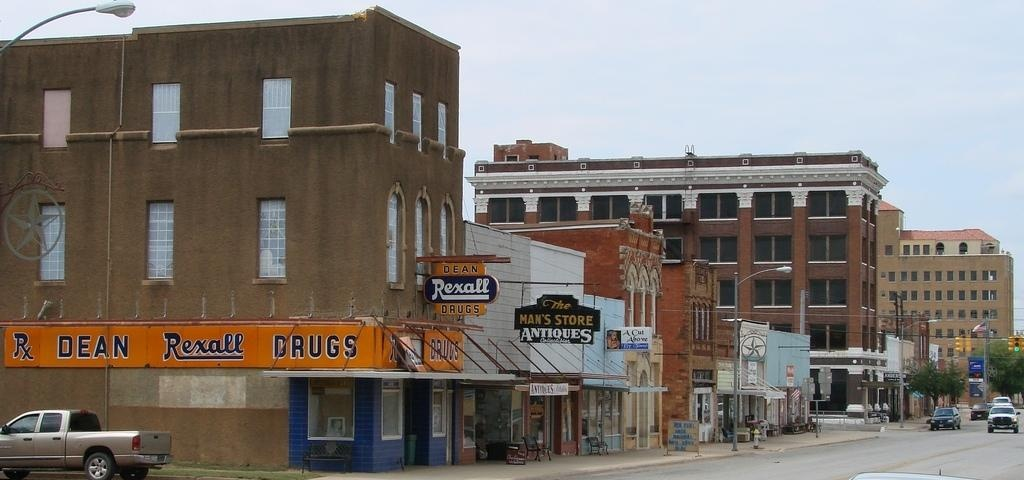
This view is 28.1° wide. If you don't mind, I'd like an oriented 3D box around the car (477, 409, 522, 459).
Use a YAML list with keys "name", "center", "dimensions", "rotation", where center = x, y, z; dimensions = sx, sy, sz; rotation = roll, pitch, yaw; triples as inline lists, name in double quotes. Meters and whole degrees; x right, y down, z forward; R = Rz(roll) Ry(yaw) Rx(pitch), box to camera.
- name: "car"
  center: [-1.437, 16.224, 170.391]
  dimensions: [3.714, 3.130, 6.753]
  rotation: [7, -12, -30]

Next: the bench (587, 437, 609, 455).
- name: "bench"
  center: [7.007, 17.644, 176.241]
  dimensions: [1.742, 1.476, 0.600]
  rotation: [4, 0, -22]

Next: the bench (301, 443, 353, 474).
- name: "bench"
  center: [-14.827, 17.171, 162.855]
  dimensions: [3.679, 2.382, 0.491]
  rotation: [4, 0, 4]
